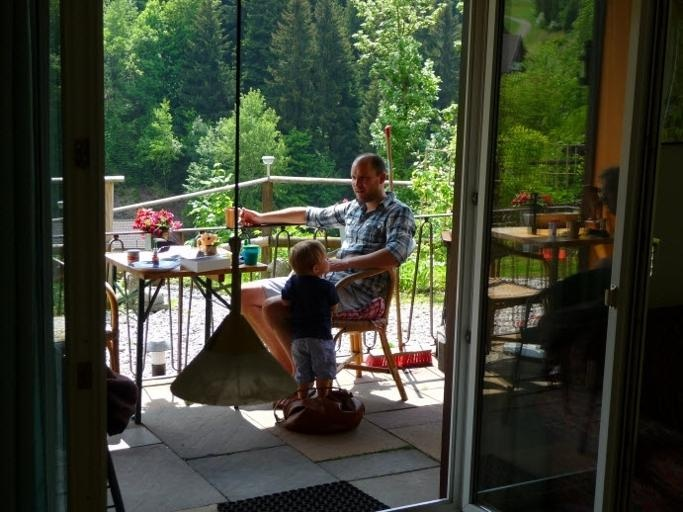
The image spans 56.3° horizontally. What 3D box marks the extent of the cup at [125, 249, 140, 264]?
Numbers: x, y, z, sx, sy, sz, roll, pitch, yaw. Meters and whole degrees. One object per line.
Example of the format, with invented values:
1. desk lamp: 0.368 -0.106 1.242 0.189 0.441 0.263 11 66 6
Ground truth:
1. cup: -1.184 0.001 3.588 0.068 0.081 0.071 1 4 0

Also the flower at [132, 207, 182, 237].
1. flower: -1.165 -0.198 3.941 0.221 0.151 0.226 12 20 -20

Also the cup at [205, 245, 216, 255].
1. cup: -0.767 -0.038 3.700 0.050 0.040 0.050 1 2 0

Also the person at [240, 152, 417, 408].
1. person: -0.159 0.090 3.976 1.135 1.593 0.864 5 -2 2

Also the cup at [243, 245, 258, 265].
1. cup: -0.534 -0.008 3.683 0.099 0.104 0.099 0 7 0

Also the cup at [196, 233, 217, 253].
1. cup: -0.798 -0.080 3.748 0.130 0.138 0.102 -1 8 -17

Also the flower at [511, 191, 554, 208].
1. flower: 0.716 -0.217 2.404 0.093 0.037 0.060 3 -32 10

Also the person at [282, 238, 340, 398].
1. person: -0.176 0.353 3.494 0.317 0.873 0.297 -1 7 -3

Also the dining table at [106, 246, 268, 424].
1. dining table: -0.939 0.358 3.683 0.572 0.570 0.523 -3 0 -31

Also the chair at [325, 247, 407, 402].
1. chair: 0.186 0.377 4.030 0.549 0.812 0.647 -6 21 17
